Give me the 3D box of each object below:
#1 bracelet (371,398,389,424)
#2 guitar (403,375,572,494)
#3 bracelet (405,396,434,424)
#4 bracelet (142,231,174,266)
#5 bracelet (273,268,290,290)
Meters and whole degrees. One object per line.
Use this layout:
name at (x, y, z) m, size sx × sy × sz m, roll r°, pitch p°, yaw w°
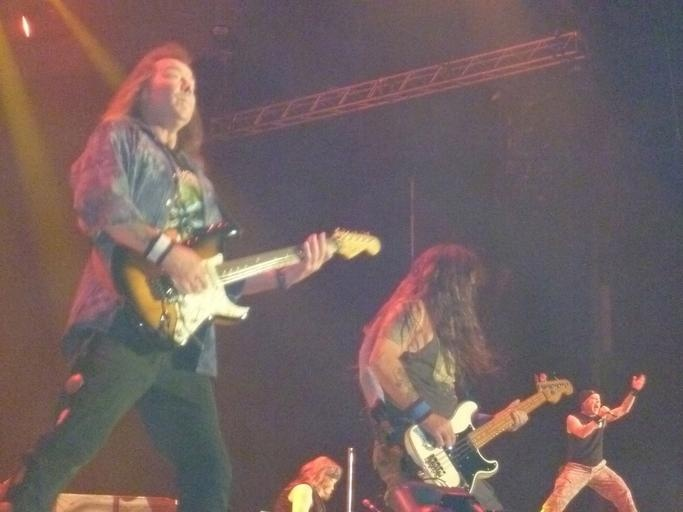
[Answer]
bracelet at (0.284, 1.136, 6.699) m, size 0.070 × 0.149 × 0.149 m, roll -2°, pitch -2°, yaw -35°
guitar at (1.137, 1.213, 6.660) m, size 1.482 × 0.620 × 0.183 m, roll -25°, pitch -10°, yaw -36°
bracelet at (0.556, 1.120, 6.590) m, size 0.113 × 0.162 × 0.151 m, roll -8°, pitch -6°, yaw -27°
bracelet at (-0.980, -0.043, 4.979) m, size 0.053 × 0.172 × 0.167 m, roll 31°, pitch 11°, yaw -8°
bracelet at (-0.356, 0.131, 5.478) m, size 0.082 × 0.128 × 0.032 m, roll 0°, pitch -1°, yaw -9°
